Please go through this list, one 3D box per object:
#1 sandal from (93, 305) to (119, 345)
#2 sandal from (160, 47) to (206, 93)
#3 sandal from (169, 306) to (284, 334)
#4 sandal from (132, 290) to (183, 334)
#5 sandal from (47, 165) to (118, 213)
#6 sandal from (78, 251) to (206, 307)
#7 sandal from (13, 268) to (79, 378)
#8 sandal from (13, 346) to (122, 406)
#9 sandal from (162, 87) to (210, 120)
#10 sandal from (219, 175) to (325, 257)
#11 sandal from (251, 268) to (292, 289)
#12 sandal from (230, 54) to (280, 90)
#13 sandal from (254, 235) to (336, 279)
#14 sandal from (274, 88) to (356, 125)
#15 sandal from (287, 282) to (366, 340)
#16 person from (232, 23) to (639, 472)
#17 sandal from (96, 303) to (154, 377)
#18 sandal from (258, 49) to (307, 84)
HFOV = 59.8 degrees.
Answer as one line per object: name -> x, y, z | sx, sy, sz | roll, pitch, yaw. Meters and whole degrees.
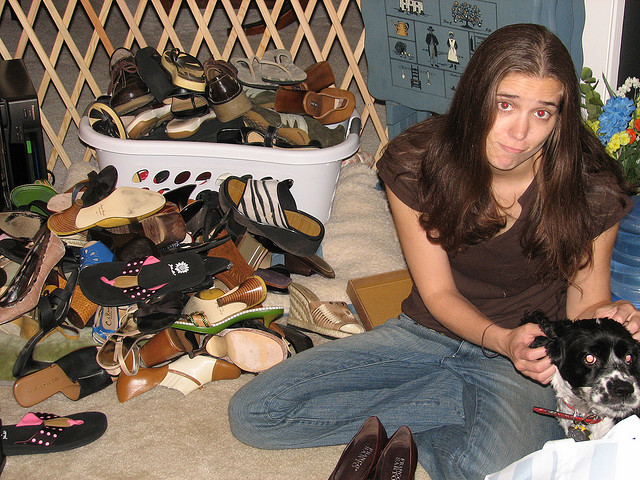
sandal -> -0.839, 0.333, 2.251 | 0.098, 0.169, 0.052 | 11, -12, 12
sandal -> -0.701, -0.880, 2.832 | 0.200, 0.083, 0.290 | -5, 47, -36
sandal -> -0.376, 0.314, 2.252 | 0.420, 0.108, 0.151 | 5, -3, -6
sandal -> -0.627, 0.237, 2.194 | 0.172, 0.074, 0.339 | 6, 30, -11
sandal -> -1.108, -0.241, 2.596 | 0.406, 0.099, 0.202 | -14, 48, 7
sandal -> -0.678, 0.145, 2.173 | 0.445, 0.061, 0.201 | -9, 53, -15
sandal -> -1.037, 0.327, 2.205 | 0.123, 0.461, 0.176 | 31, -23, -33
sandal -> -0.961, 0.528, 2.187 | 0.383, 0.177, 0.097 | -21, 2, -22
sandal -> -0.672, -0.685, 2.830 | 0.210, 0.131, 0.072 | 1, 7, 0
sandal -> -0.222, -0.114, 2.690 | 0.554, 0.235, 0.293 | 31, 33, -11
sandal -> -0.208, 0.173, 2.530 | 0.165, 0.023, 0.077 | 25, 40, 28
sandal -> -0.385, -0.919, 3.082 | 0.180, 0.091, 0.256 | -26, 54, -33
sandal -> -0.093, 0.108, 2.712 | 0.430, 0.114, 0.168 | 28, 13, -1
sandal -> -0.029, -0.737, 3.103 | 0.426, 0.192, 0.121 | 4, -9, -4
sandal -> 0.024, 0.315, 2.434 | 0.397, 0.169, 0.163 | 17, 18, 39
person -> 0.397, 0.067, 1.725 | 1.054, 1.361, 0.605 | 6, 20, 26
sandal -> -0.747, 0.408, 2.188 | 0.164, 0.322, 0.080 | 19, 3, 7
sandal -> -0.219, -0.951, 3.078 | 0.203, 0.085, 0.261 | -2, 38, -6
